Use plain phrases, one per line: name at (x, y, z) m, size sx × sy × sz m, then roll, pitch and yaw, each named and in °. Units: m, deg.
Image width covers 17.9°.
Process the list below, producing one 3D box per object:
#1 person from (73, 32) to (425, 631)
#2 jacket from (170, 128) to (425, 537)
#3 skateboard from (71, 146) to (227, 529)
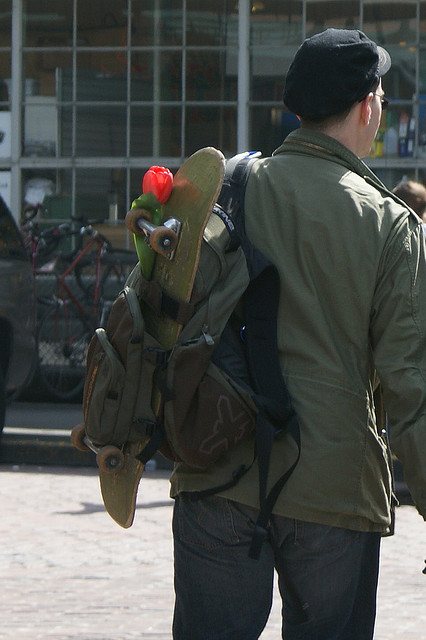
person at (0.104, 0.032, 3.499) m, size 0.845 × 1.546 × 0.476 m, roll 0°, pitch 5°, yaw -3°
jacket at (0.207, 0.063, 3.419) m, size 0.452 × 1.155 × 0.921 m, roll -1°, pitch 4°, yaw -28°
skateboard at (-0.114, -0.068, 3.507) m, size 0.174 × 1.222 × 0.277 m, roll 9°, pitch 6°, yaw -35°
